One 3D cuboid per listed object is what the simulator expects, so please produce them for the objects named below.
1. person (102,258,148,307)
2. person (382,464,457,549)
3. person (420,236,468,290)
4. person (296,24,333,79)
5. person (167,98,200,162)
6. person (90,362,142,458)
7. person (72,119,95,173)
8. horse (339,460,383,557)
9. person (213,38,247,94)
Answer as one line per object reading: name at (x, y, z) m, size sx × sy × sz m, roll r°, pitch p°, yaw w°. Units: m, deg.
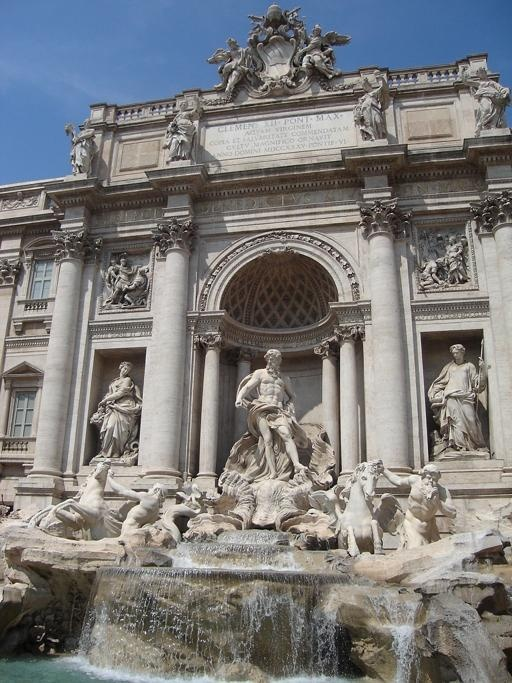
person at (-4.464, -1.951, 19.683) m, size 1.589 × 1.961 × 0.603 m, roll -4°, pitch -30°, yaw 2°
person at (3.228, 3.251, 11.357) m, size 0.819 × 1.566 × 1.084 m, roll 11°, pitch -20°, yaw -26°
person at (5.694, -2.320, 17.425) m, size 1.582 × 1.738 × 0.417 m, roll -7°, pitch -33°, yaw 19°
person at (2.155, -10.204, 20.407) m, size 1.196 × 1.994 × 0.501 m, roll 1°, pitch -18°, yaw 4°
person at (-2.565, -7.559, 20.202) m, size 1.164 × 3.287 × 0.746 m, roll 5°, pitch -18°, yaw -8°
person at (-4.271, 2.234, 18.128) m, size 1.421 × 3.315 × 0.791 m, roll 3°, pitch -18°, yaw -4°
person at (-6.271, -6.868, 20.913) m, size 0.859 × 2.234 × 0.639 m, roll 5°, pitch -18°, yaw -8°
horse at (2.053, 3.236, 11.362) m, size 0.846 × 1.781 × 1.635 m, roll 0°, pitch -18°, yaw 8°
person at (-0.943, -9.830, 20.890) m, size 1.278 × 2.233 × 0.523 m, roll -1°, pitch -18°, yaw 10°
